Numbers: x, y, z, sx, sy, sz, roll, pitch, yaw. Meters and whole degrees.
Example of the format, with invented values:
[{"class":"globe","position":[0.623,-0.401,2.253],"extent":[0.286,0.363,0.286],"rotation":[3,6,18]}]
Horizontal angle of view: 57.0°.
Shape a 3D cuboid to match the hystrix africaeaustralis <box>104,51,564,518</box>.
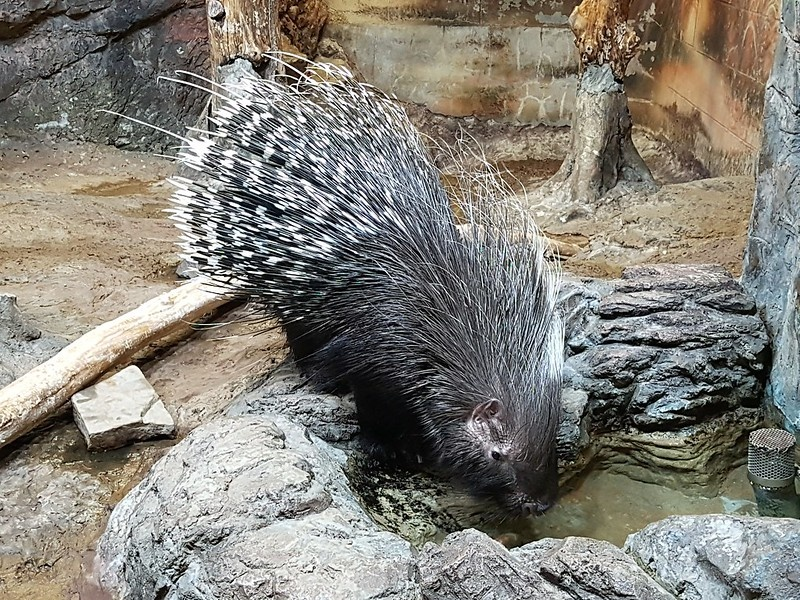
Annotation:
[{"class":"hystrix africaeaustralis","position":[-0.128,-0.115,3.453],"extent":[1.186,1.189,2.335],"rotation":[-30,64,-35]}]
